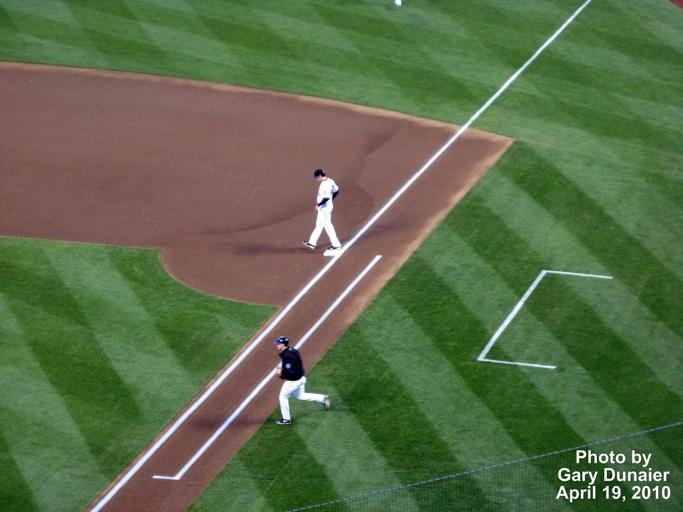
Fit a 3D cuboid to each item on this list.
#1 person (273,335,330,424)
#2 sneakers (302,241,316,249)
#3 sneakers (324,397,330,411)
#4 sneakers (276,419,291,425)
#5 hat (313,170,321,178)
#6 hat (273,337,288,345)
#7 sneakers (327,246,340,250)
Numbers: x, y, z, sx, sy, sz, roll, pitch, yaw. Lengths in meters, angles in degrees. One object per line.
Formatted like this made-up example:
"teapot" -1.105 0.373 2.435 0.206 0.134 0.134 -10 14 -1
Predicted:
"person" -0.986 3.139 33.004 1.617 2.299 0.862 5 36 8
"sneakers" -0.876 -0.302 36.594 0.395 0.154 0.145 36 10 11
"sneakers" -0.330 3.616 32.840 0.104 0.201 0.294 4 53 -2
"sneakers" -1.411 4.057 32.735 0.358 0.145 0.140 4 21 12
"hat" -0.631 -2.223 35.720 0.220 0.224 0.403 5 9 -3
"hat" -1.464 2.074 32.359 0.274 0.151 0.180 2 17 10
"sneakers" -0.193 -0.245 36.429 0.287 0.097 0.108 -1 89 14
